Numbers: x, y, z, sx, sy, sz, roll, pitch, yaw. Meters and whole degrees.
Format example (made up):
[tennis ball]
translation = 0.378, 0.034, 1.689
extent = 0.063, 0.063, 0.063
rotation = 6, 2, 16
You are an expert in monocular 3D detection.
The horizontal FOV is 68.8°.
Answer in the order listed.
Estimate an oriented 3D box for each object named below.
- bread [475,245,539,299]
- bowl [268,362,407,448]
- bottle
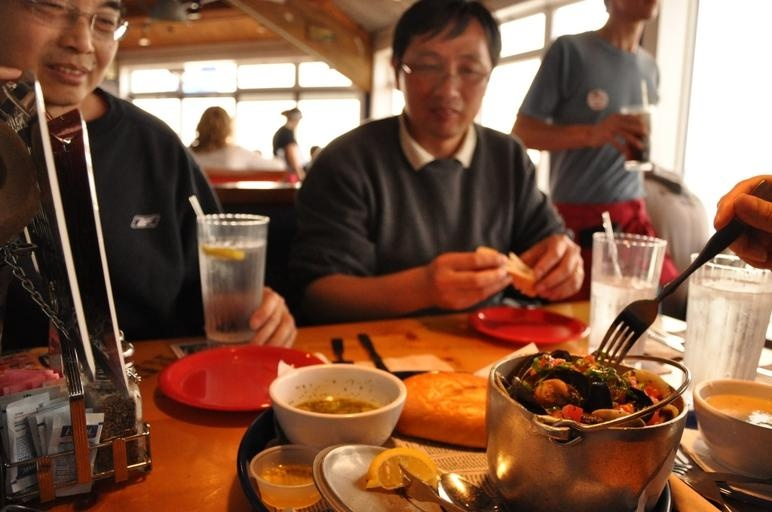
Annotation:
[bread]
translation = 0.462, 0.028, 2.080
extent = 0.196, 0.057, 0.214
rotation = 35, -5, 42
[bowl]
translation = -0.110, 0.370, 1.347
extent = 0.316, 0.174, 0.187
rotation = -2, 11, -11
[bottle]
translation = -0.595, 0.344, 1.254
extent = 0.113, 0.290, 0.147
rotation = -6, 13, -26
